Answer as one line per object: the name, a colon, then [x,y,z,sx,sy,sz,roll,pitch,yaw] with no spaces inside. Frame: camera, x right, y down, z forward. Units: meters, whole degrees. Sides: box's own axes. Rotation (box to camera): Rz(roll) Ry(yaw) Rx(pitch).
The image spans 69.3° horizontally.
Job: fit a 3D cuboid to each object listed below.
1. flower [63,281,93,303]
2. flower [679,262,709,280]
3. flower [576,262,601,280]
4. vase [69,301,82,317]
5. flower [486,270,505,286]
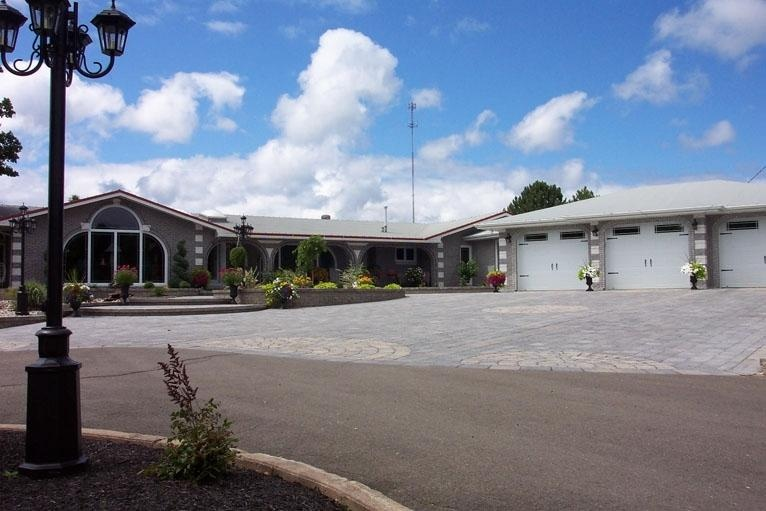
flower: [-11.152,1.331,20.138,1.016,1.070,1.025,-7,-9,43]
flower: [12.554,0.566,22.164,0.803,0.584,0.808,-1,1,-16]
flower: [9.285,0.704,24.962,0.744,0.469,0.752,1,-4,-22]
vase: [-10.547,1.833,18.898,0.473,0.524,0.502,0,-1,-11]
flower: [5.834,1.134,28.385,0.727,0.775,0.763,-1,0,15]
